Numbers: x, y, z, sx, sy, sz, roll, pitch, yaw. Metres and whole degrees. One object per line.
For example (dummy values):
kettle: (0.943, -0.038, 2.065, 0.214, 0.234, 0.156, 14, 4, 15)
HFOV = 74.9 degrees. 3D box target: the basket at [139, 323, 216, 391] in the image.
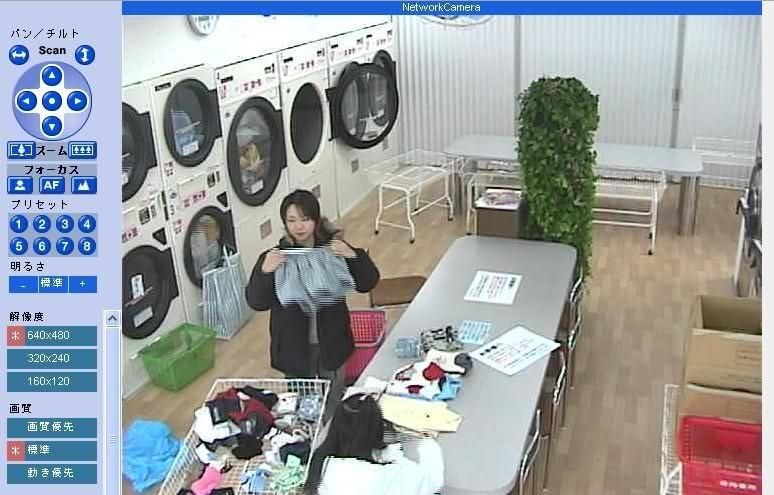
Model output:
basket: (-1.577, 0.800, 3.924, 0.363, 0.279, 0.515, 13, 25, 27)

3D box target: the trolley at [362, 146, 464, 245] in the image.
trolley: (0.325, -0.621, 5.912, 0.642, 0.756, 1.051, 12, 27, 35)

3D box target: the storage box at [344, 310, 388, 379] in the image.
storage box: (-0.136, 0.608, 3.198, 0.297, 0.418, 0.315, 3, 40, 8)

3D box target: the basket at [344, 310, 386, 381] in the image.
basket: (-0.133, 0.650, 3.466, 0.336, 0.438, 0.435, -1, 38, 6)

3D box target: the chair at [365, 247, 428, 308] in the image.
chair: (0.056, 0.184, 3.902, 0.303, 0.260, 0.475, -5, -26, -4)

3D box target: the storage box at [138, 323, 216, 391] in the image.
storage box: (-1.571, 0.793, 3.928, 0.362, 0.285, 0.522, 12, 25, 27)

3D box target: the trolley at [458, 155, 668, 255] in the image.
trolley: (1.947, -0.508, 5.430, 1.874, 0.803, 0.550, 7, 0, 14)

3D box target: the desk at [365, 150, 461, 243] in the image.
desk: (0.319, -0.617, 5.925, 0.674, 0.767, 1.059, 14, 28, 40)
